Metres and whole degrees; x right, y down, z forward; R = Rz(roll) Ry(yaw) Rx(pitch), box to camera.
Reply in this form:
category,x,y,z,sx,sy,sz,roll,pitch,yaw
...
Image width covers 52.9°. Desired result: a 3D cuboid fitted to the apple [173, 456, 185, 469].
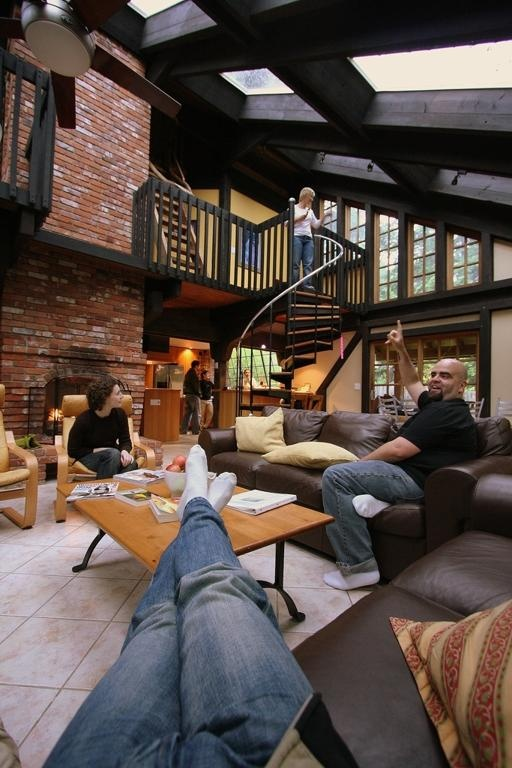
category,x,y,z,sx,sy,sz,roll,pitch,yaw
apple,-0.306,0.306,2.074,0.048,0.059,0.048,-8,6,-34

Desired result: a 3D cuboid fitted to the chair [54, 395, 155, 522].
category,x,y,z,sx,sy,sz,roll,pitch,yaw
chair,-0.981,0.465,3.291,0.724,0.777,0.767,1,1,-2

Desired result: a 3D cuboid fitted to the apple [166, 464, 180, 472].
category,x,y,z,sx,sy,sz,roll,pitch,yaw
apple,-0.321,0.323,2.005,0.029,0.030,0.029,3,-11,-40

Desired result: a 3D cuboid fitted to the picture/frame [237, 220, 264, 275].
category,x,y,z,sx,sy,sz,roll,pitch,yaw
picture/frame,-0.053,-1.598,6.020,0.279,0.591,0.516,3,0,2

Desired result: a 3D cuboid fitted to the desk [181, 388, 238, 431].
category,x,y,z,sx,sy,sz,roll,pitch,yaw
desk,-0.559,0.472,7.007,0.451,0.812,0.839,6,-9,-28

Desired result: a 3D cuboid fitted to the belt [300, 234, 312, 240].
category,x,y,z,sx,sy,sz,roll,pitch,yaw
belt,0.569,-1.655,5.734,0.133,0.053,0.026,4,0,-29

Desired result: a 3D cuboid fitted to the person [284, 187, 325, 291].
category,x,y,z,sx,sy,sz,roll,pitch,yaw
person,0.555,-1.611,5.721,0.270,1.089,0.670,3,0,14

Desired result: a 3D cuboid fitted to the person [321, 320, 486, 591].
category,x,y,z,sx,sy,sz,roll,pitch,yaw
person,0.637,0.307,2.328,0.604,1.212,0.495,7,-8,15
